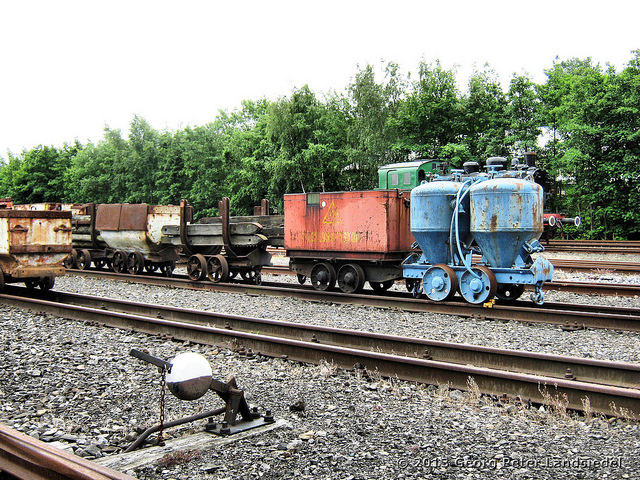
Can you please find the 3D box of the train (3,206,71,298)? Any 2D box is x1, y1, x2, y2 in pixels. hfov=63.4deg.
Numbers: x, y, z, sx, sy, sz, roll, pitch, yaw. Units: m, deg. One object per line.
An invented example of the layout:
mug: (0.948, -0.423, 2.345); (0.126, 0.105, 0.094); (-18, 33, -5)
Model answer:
train: (-7.847, 0.248, 14.621); (1.777, 2.171, 3.360); (0, 0, -41)
